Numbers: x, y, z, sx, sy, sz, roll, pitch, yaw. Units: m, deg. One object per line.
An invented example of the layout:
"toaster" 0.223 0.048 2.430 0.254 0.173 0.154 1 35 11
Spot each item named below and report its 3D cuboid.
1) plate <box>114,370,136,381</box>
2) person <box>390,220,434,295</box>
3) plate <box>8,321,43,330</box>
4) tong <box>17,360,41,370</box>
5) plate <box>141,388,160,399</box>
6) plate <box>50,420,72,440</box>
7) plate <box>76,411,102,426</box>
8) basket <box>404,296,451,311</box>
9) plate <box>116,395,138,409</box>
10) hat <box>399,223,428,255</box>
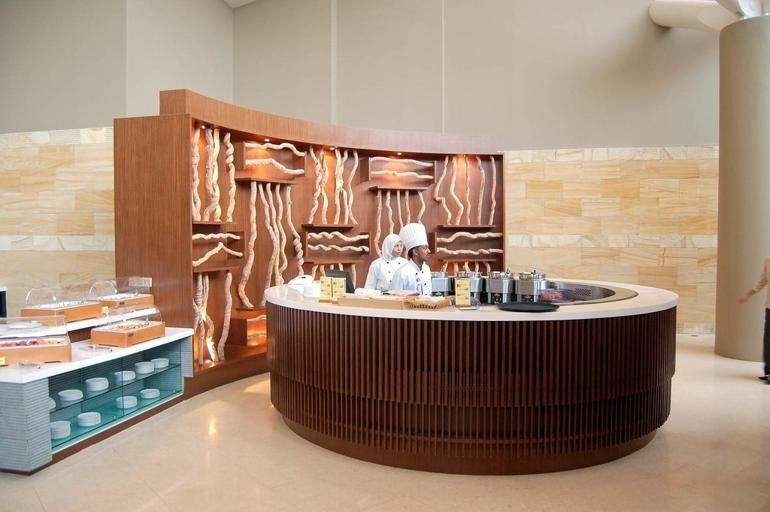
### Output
"plate" -3.130 1.454 6.690 0.142 0.047 0.145 3 2 44
"person" 0.339 0.050 7.213 0.548 0.910 0.718 -1 5 3
"plate" -4.041 0.782 6.226 0.336 0.067 0.173 -2 4 -9
"tong" -3.753 1.142 5.833 0.240 0.081 0.190 -3 5 -21
"plate" -2.930 1.740 6.946 0.136 0.042 0.137 2 1 38
"plate" -3.505 1.892 6.002 0.197 0.125 0.187 0 -3 -1
"plate" -3.337 1.843 6.243 0.173 0.062 0.164 1 0 -3
"basket" 0.457 0.490 5.789 0.511 0.122 0.169 -2 5 -6
"plate" -3.080 1.744 6.604 0.175 0.060 0.165 2 1 -6
"hat" 0.377 -0.237 7.472 0.394 0.279 0.364 -11 -6 36
